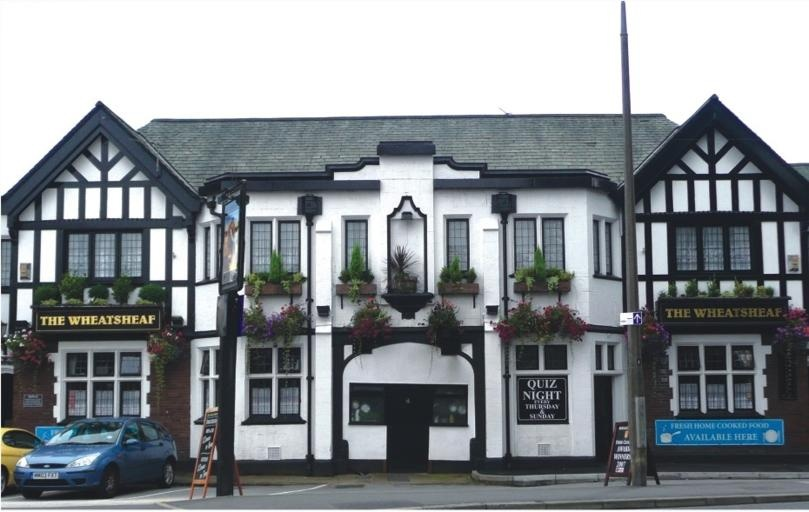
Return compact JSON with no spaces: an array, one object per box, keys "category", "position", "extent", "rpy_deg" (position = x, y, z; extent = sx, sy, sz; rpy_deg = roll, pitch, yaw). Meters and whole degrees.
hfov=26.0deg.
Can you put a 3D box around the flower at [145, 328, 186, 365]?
[{"category":"flower","position":[-8.803,3.264,64.343],"extent":[1.314,1.328,0.504],"rpy_deg":[0,-12,-5]}]

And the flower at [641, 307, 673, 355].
[{"category":"flower","position":[9.121,2.660,64.204],"extent":[1.008,1.702,0.798],"rpy_deg":[-2,-12,8]}]

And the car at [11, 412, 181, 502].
[{"category":"car","position":[-10.372,6.791,59.322],"extent":[5.255,2.809,1.996],"rpy_deg":[10,-16,-43]}]
